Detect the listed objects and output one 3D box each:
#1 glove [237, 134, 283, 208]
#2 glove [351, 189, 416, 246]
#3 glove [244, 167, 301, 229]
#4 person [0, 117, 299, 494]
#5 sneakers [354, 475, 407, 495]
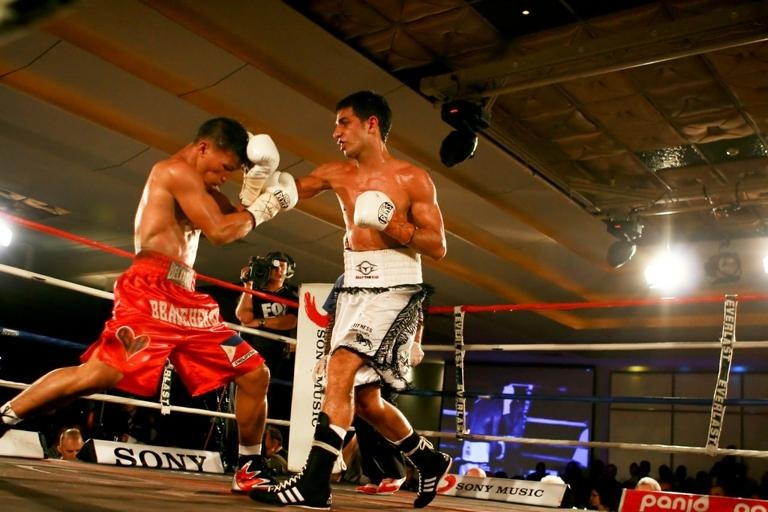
[{"bbox_3d":[-0.791,-0.514,3.705,0.270,0.184,0.445,19,-63,-28],"label":"glove"},{"bbox_3d":[-0.045,-0.254,3.452,0.221,0.221,0.191,7,-18,2],"label":"glove"},{"bbox_3d":[-0.638,-0.326,3.691,0.276,0.382,0.158,44,-23,24],"label":"glove"},{"bbox_3d":[-1.119,0.216,3.445,1.371,2.086,0.615,18,-21,-27],"label":"person"},{"bbox_3d":[0.001,1.716,4.528,0.315,0.106,0.150,7,-19,-17],"label":"sneakers"}]
